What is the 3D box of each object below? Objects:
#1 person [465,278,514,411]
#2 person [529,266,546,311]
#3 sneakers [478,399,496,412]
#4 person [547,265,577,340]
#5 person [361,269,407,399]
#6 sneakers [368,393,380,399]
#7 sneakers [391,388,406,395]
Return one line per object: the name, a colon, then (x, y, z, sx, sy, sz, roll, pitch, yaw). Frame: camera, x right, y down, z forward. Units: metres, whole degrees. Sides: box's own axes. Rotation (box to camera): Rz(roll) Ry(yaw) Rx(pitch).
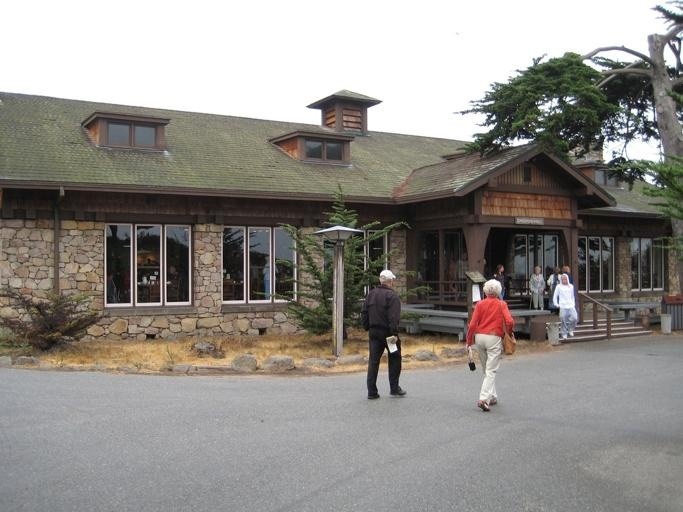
person: (2.432, 1.437, 11.019, 0.715, 2.037, 0.823, 1, 2, 12)
person: (6.535, 1.066, 22.384, 0.413, 1.410, 0.685, 1, 2, 13)
sneakers: (2.349, 2.387, 10.809, 0.148, 0.182, 0.443, -1, 0, 27)
person: (6.560, 1.455, 19.651, 0.629, 1.871, 1.089, 1, 2, 18)
person: (0.744, 1.351, 11.801, 0.798, 2.180, 0.944, 1, 2, 2)
sneakers: (0.553, 2.418, 11.522, 0.072, 0.084, 0.203, -4, -12, 36)
sneakers: (1.021, 2.374, 11.695, 0.305, 0.136, 0.108, 0, 0, -40)
